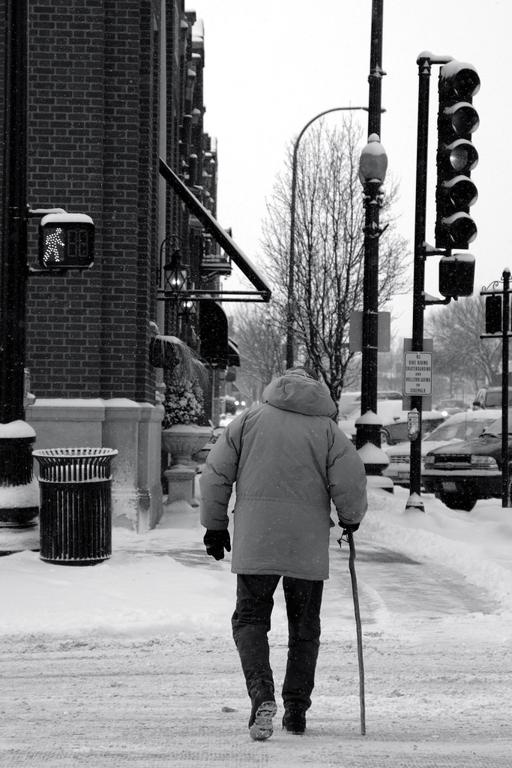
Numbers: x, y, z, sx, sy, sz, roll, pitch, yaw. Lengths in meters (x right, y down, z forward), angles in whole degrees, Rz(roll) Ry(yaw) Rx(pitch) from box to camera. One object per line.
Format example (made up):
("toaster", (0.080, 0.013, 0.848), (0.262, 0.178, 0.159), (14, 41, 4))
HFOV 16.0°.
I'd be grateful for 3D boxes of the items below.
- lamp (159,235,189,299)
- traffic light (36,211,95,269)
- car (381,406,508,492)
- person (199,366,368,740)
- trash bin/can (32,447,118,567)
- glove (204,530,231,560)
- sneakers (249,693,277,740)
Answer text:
("lamp", (-0.904, -1.282, 19.923), (0.286, 0.708, 0.317), (5, -19, -11))
("traffic light", (-1.387, -1.121, 13.439), (0.355, 0.449, 0.433), (-2, 31, -11))
("car", (2.464, 0.838, 24.620), (1.972, 0.969, 0.862), (0, -1, -43))
("person", (0.141, 0.892, 9.927), (0.849, 1.891, 0.752), (-2, 7, -42))
("trash bin/can", (-1.373, 0.900, 13.179), (0.467, 0.791, 0.457), (1, 2, -39))
("glove", (-0.211, 0.864, 9.936), (0.107, 0.215, 0.080), (3, -11, -1))
("sneakers", (0.037, 1.745, 9.504), (0.134, 0.242, 0.161), (2, 6, -12))
